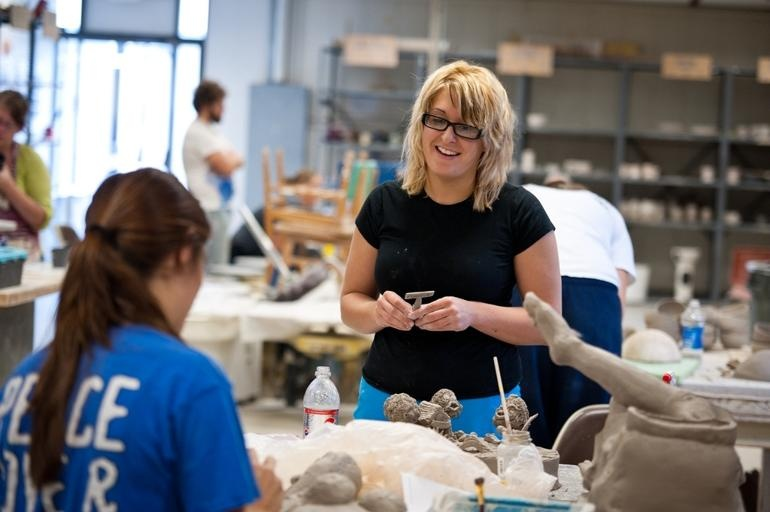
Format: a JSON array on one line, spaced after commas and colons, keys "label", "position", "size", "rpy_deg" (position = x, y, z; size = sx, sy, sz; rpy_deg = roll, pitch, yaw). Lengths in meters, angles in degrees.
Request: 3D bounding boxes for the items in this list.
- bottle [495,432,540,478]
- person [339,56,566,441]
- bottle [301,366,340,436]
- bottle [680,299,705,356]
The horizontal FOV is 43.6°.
[{"label": "bottle", "position": [0.386, 0.571, 2.769], "size": [0.129, 0.121, 0.146], "rpy_deg": [2, 4, 6]}, {"label": "person", "position": [0.214, -0.034, 3.205], "size": [0.733, 1.218, 0.368], "rpy_deg": [2, 4, 4]}, {"label": "bottle", "position": [-0.197, 0.452, 2.987], "size": [0.101, 0.197, 0.182], "rpy_deg": [1, 4, -5]}, {"label": "bottle", "position": [1.333, 0.304, 4.171], "size": [0.103, 0.221, 0.196], "rpy_deg": [3, 4, 18]}]
